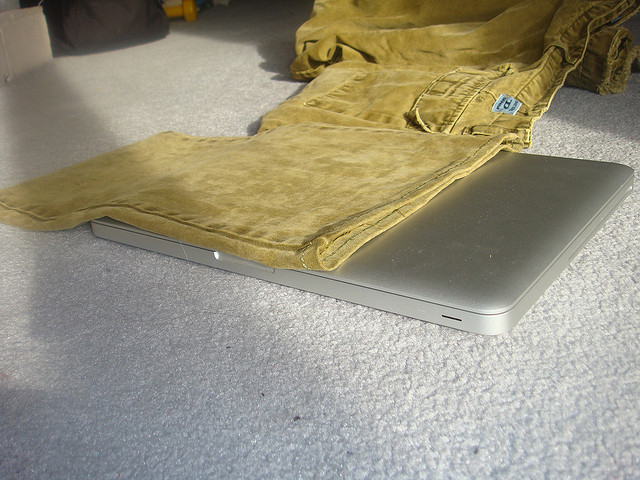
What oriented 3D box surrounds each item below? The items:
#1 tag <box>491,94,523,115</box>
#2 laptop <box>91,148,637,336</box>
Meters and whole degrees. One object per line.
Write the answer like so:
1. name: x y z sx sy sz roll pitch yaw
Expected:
1. tag: 0.385 -0.284 1.139 0.050 0.021 0.054 17 42 16
2. laptop: 0.109 -0.003 0.752 0.518 0.038 0.355 9 26 30
